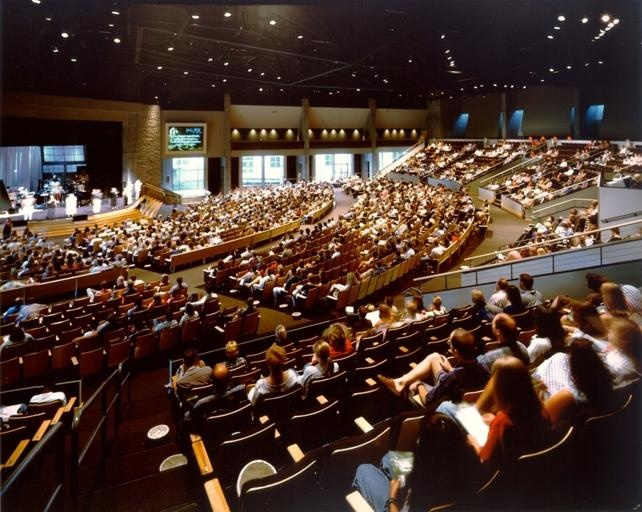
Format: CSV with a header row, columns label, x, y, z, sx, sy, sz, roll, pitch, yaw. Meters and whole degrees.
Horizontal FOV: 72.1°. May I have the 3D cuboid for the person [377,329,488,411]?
label,x,y,z,sx,sy,sz,roll,pitch,yaw
person,1.120,1.024,4.237,0.567,0.857,1.032,-10,12,-40

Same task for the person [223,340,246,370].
label,x,y,z,sx,sy,sz,roll,pitch,yaw
person,-1.237,1.442,6.369,0.349,0.338,1.043,-14,-16,-17

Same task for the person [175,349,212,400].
label,x,y,z,sx,sy,sz,roll,pitch,yaw
person,-1.573,1.482,5.497,0.423,0.525,0.885,-8,-27,-12

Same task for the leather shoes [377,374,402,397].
label,x,y,z,sx,sy,sz,roll,pitch,yaw
leather shoes,0.700,1.316,4.456,0.090,0.132,0.224,-44,50,-15
